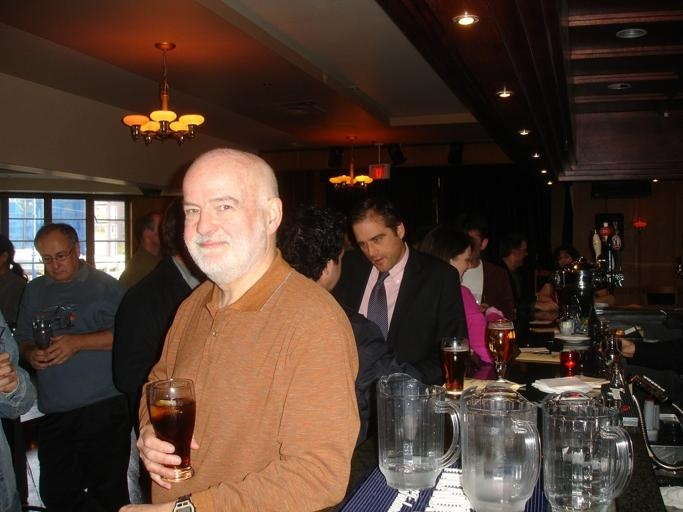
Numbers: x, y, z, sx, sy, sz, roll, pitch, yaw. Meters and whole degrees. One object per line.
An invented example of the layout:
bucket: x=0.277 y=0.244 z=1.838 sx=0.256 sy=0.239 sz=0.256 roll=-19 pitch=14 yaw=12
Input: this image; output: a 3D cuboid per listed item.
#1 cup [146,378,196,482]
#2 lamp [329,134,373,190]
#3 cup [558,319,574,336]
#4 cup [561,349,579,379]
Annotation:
cup: x=-0.510 y=0.540 z=1.682 sx=0.138 sy=0.324 sz=0.144 roll=-3 pitch=-3 yaw=0
lamp: x=0.189 y=-1.665 z=10.603 sx=0.818 sy=1.163 sz=0.844 roll=-1 pitch=-13 yaw=5
cup: x=1.525 y=0.491 z=3.822 sx=0.096 sy=0.105 sz=0.095 roll=-1 pitch=-4 yaw=0
cup: x=1.114 y=0.532 z=2.713 sx=0.092 sy=0.152 sz=0.091 roll=2 pitch=-14 yaw=1
